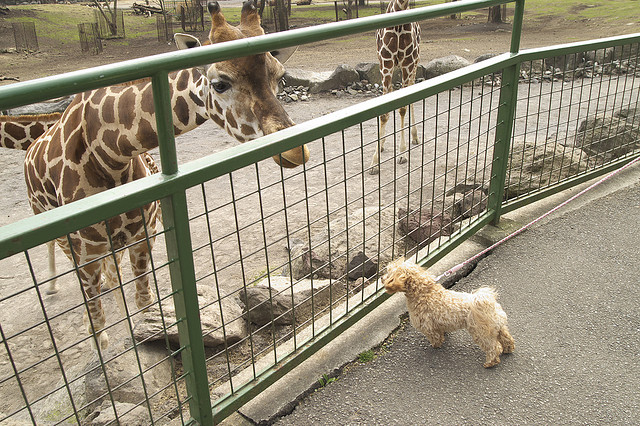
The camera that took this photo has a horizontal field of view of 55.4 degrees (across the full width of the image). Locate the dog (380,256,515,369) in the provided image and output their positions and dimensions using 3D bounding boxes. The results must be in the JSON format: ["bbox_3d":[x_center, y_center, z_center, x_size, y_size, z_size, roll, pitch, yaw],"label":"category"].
[{"bbox_3d":[0.937,0.711,4.561,0.953,0.645,0.354,3,10,27],"label":"dog"}]

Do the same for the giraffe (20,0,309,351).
[{"bbox_3d":[-1.297,-0.154,4.804,2.235,2.679,1.817,-6,30,-2],"label":"giraffe"}]

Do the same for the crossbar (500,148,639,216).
[{"bbox_3d":[2.474,-0.289,6.021,1.992,0.171,0.137,-19,32,-25],"label":"crossbar"}]

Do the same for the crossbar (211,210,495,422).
[{"bbox_3d":[0.317,0.834,4.784,2.753,0.103,0.109,-31,27,-18],"label":"crossbar"}]

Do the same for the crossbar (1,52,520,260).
[{"bbox_3d":[-0.400,-0.435,5.643,4.397,0.108,0.546,-23,54,-34],"label":"crossbar"}]
